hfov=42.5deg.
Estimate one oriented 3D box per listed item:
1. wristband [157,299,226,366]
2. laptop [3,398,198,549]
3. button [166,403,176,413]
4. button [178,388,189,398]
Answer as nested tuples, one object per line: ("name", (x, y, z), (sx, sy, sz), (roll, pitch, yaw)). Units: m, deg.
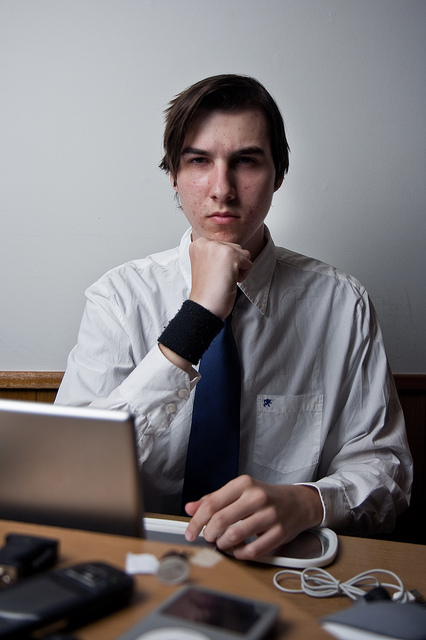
("wristband", (-0.041, 0.018, 0.985), (0.099, 0.111, 0.075), (-2, 4, -40))
("laptop", (-0.165, 0.160, 0.582), (0.201, 0.159, 0.080), (1, 3, 18))
("button", (-0.073, 0.152, 0.954), (0.015, 0.018, 0.008), (-1, 3, -13))
("button", (-0.052, 0.125, 0.949), (0.016, 0.015, 0.004), (-5, 8, -17))
